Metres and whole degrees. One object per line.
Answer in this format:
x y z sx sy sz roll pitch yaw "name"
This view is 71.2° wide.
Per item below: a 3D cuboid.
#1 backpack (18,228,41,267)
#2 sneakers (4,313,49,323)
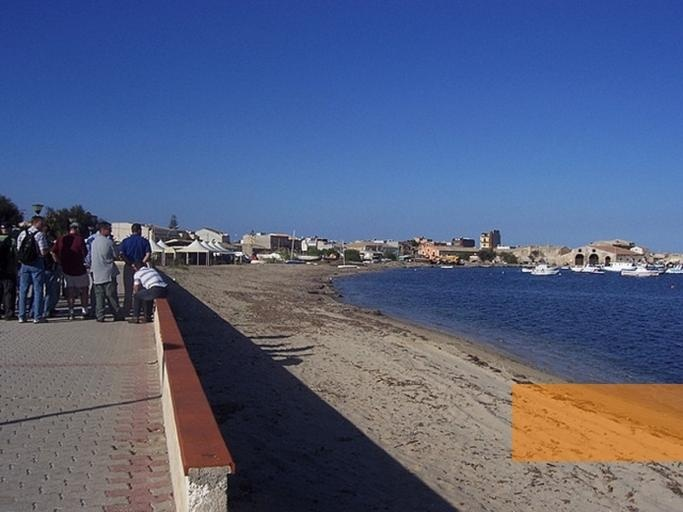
-6.156 -0.154 9.440 0.240 0.759 0.335 5 -1 38 "backpack"
-6.468 1.278 9.776 0.650 0.231 0.183 -3 -4 10 "sneakers"
